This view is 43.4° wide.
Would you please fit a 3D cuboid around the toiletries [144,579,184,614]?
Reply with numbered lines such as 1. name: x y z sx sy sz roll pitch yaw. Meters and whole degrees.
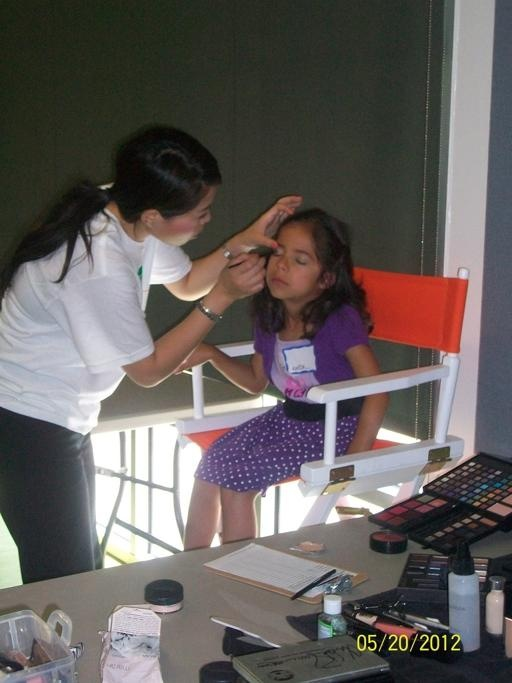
1. toiletries: -0.111 0.305 0.773 0.047 0.025 0.049 -3 7 -10

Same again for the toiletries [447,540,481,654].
1. toiletries: 0.229 0.280 0.704 0.034 0.107 0.052 0 9 16

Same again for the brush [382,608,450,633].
1. brush: 0.177 0.307 0.723 0.014 0.019 0.075 3 -1 -44

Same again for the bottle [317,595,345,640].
1. bottle: 0.080 0.292 0.680 0.029 0.044 0.033 -1 8 6

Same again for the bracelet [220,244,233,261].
1. bracelet: -0.066 -0.200 1.451 0.008 0.026 0.024 -11 -42 -28
